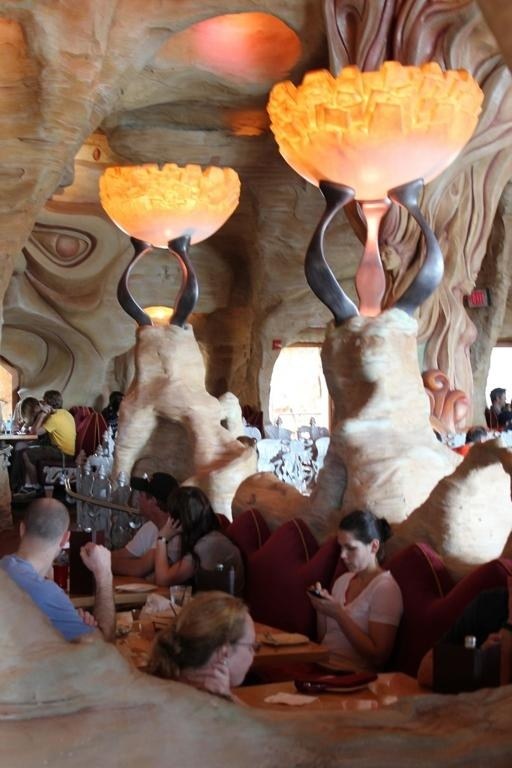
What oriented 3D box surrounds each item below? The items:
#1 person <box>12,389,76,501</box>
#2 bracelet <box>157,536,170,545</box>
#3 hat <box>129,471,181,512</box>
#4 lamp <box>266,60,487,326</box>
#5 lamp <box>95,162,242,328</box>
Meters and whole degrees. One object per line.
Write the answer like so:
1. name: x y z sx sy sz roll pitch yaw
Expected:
1. person: -2.717 0.814 8.311 0.803 0.539 1.209 12 33 -13
2. bracelet: -0.410 0.703 2.922 0.036 0.014 0.034 -1 47 -51
3. hat: -0.551 0.554 3.401 0.262 0.141 0.184 35 17 23
4. lamp: 0.664 -0.872 3.734 1.365 1.354 1.318 0 4 13
5. lamp: -0.635 -1.038 5.270 1.316 1.331 1.255 3 3 2
